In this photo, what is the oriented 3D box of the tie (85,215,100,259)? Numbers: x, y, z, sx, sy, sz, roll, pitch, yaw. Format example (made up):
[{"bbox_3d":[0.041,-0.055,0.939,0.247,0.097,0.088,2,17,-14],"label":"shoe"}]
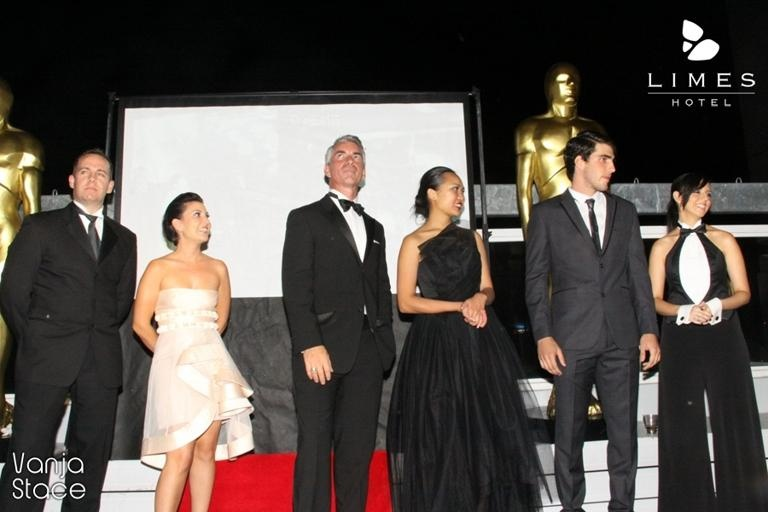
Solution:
[{"bbox_3d":[-1.943,-0.130,4.069,0.092,0.315,0.035,1,-24,-28],"label":"tie"}]

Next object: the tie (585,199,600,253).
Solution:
[{"bbox_3d":[1.385,-0.210,4.039,0.055,0.338,0.042,-1,-20,-2],"label":"tie"}]
